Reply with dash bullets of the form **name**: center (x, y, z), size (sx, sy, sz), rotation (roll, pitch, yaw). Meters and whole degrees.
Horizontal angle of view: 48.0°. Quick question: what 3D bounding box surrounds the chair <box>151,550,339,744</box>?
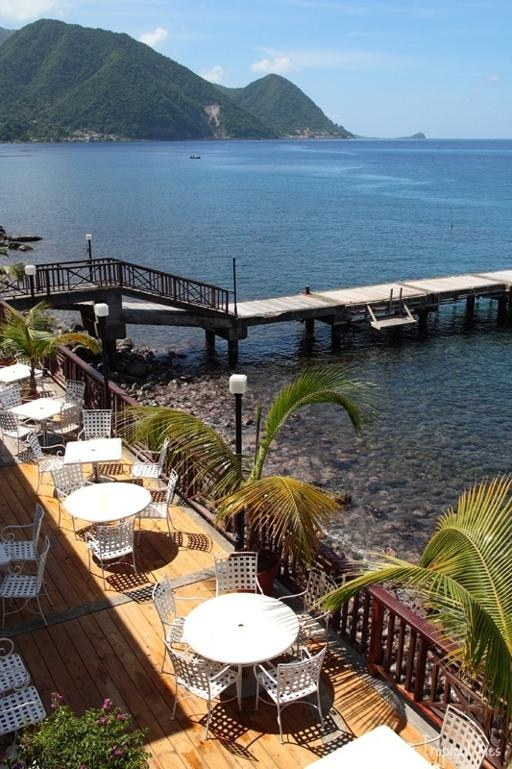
- **chair**: center (-0.209, 2.122, 4.888), size (1.186, 0.589, 1.186), rotation (0, 25, 2)
